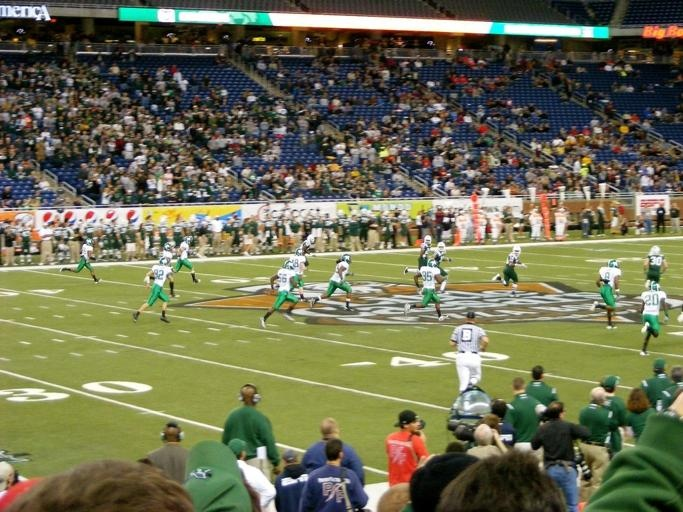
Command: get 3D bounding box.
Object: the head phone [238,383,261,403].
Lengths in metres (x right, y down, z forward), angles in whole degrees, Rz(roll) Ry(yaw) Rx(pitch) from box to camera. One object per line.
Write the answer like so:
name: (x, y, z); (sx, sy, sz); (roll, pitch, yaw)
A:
head phone: (-1.205, 1.845, 14.184); (0.370, 0.219, 0.281); (1, -21, 1)

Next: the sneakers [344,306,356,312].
sneakers: (0.245, 1.408, 28.013); (0.299, 0.088, 0.077); (5, 42, -4)

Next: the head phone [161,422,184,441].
head phone: (-2.035, 2.155, 12.861); (0.272, 0.090, 0.272); (3, -23, -5)

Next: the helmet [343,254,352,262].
helmet: (0.131, 0.030, 27.639); (0.245, 0.174, 0.200); (-7, 1, -44)

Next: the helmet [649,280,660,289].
helmet: (7.184, 0.639, 24.322); (0.288, 0.198, 0.164); (-13, 28, 3)

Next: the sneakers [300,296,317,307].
sneakers: (-0.803, 1.185, 28.394); (0.238, 0.207, 0.601); (15, 4, -28)

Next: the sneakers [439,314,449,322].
sneakers: (2.575, 1.545, 26.527); (0.260, 0.190, 0.575); (-5, -3, 14)
